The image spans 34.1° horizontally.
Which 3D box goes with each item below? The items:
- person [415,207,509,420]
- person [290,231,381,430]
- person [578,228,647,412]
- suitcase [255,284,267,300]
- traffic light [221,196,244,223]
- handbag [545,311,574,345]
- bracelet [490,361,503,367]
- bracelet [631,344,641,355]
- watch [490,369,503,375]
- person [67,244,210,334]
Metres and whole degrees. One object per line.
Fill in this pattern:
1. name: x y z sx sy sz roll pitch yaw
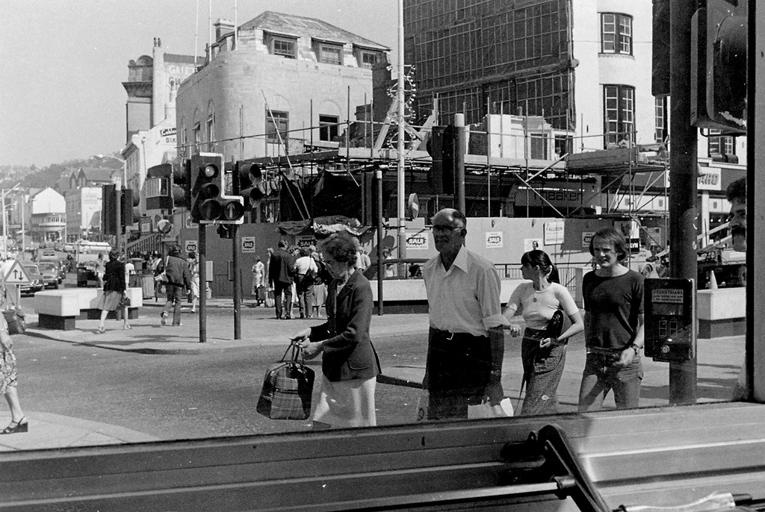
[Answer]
1. person: 0.532 0.329 8.064 0.552 1.272 0.887 -1 2 4
2. person: -0.298 0.449 8.199 0.541 1.199 0.840 -1 2 -3
3. person: 1.510 0.392 8.239 0.429 1.147 0.779 -1 2 12
4. suitcase: -2.488 0.757 25.650 0.286 0.313 0.553 1 5 -7
5. traffic light: -1.981 -0.628 16.415 0.092 0.314 0.316 -5 -8 30
6. handbag: 1.290 0.529 9.130 0.105 0.068 0.361 4 20 12
7. bracelet: 0.744 0.714 8.153 0.047 0.033 0.048 1 2 31
8. bracelet: 1.679 0.620 8.247 0.047 0.035 0.064 3 -7 -4
9. watch: 0.744 0.769 8.138 0.058 0.041 0.064 -1 -11 2
10. person: -3.342 0.484 17.820 1.192 1.151 0.561 1 -14 -17
